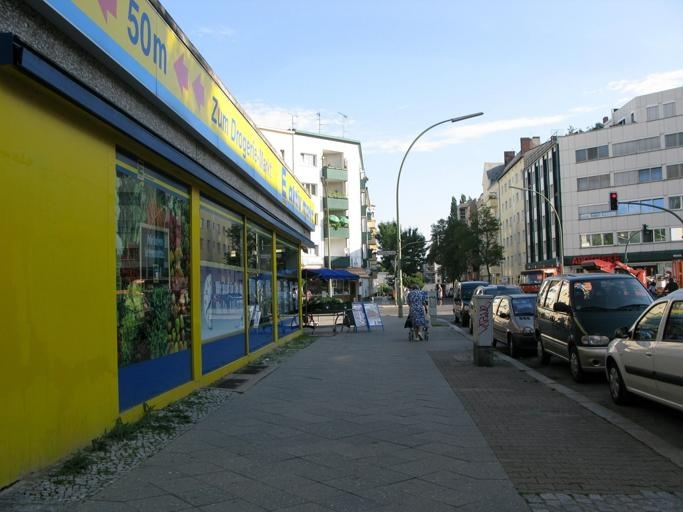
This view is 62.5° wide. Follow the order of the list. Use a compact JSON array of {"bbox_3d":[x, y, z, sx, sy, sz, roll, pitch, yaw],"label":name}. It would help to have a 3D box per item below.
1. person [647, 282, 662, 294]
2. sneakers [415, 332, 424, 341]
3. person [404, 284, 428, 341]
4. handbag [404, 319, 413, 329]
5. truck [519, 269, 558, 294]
[{"bbox_3d":[14.797,1.507,26.633,0.473,0.741,0.325,20,-31,-13],"label":"person"},{"bbox_3d":[2.659,2.765,19.353,0.181,0.243,0.587,-3,-9,7],"label":"sneakers"},{"bbox_3d":[2.598,1.929,19.355,0.683,1.886,0.968,0,-2,21],"label":"person"},{"bbox_3d":[2.313,2.300,19.291,0.301,0.461,0.426,2,-11,-5],"label":"handbag"},{"bbox_3d":[11.203,1.426,32.525,2.498,1.517,1.650,-2,2,10],"label":"truck"}]
